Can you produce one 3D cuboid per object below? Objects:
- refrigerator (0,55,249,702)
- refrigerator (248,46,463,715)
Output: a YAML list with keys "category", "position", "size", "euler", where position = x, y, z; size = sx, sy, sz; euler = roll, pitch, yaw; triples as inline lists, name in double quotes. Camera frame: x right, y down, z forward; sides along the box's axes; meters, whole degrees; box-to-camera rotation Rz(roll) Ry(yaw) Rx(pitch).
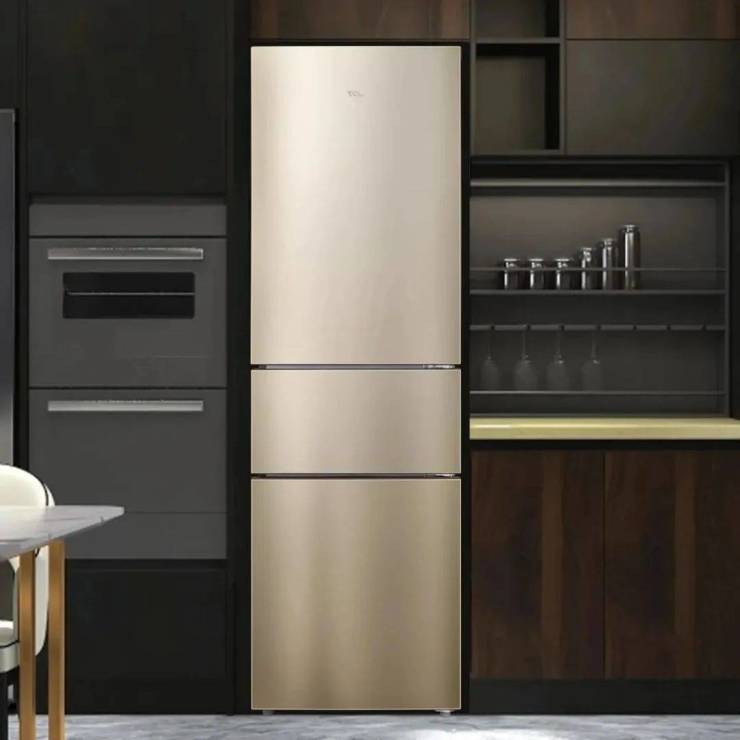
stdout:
- category: "refrigerator"
  position: [-0.677, 0.144, 3.630]
  size: [0.983, 2.217, 0.760]
  euler: [-3, -6, 29]
- category: "refrigerator"
  position: [-0.038, 0.031, 3.238]
  size: [0.716, 2.166, 0.471]
  euler: [0, -11, -5]
